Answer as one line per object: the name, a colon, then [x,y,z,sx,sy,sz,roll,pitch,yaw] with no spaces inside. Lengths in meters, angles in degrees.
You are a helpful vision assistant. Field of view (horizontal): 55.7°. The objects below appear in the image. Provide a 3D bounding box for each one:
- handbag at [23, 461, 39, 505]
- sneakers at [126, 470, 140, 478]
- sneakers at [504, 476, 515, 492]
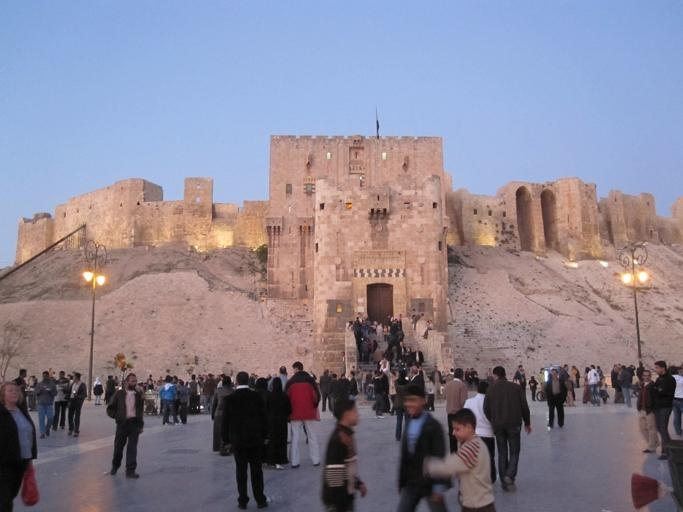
handbag: [-4.564,3.361,9.489,0.203,0.609,0.355,2,-9,-27]
sneakers: [-4.097,4.289,12.668,0.257,0.099,0.244,0,-8,-15]
sneakers: [2.949,4.040,11.464,0.242,0.229,0.172,-7,-9,31]
